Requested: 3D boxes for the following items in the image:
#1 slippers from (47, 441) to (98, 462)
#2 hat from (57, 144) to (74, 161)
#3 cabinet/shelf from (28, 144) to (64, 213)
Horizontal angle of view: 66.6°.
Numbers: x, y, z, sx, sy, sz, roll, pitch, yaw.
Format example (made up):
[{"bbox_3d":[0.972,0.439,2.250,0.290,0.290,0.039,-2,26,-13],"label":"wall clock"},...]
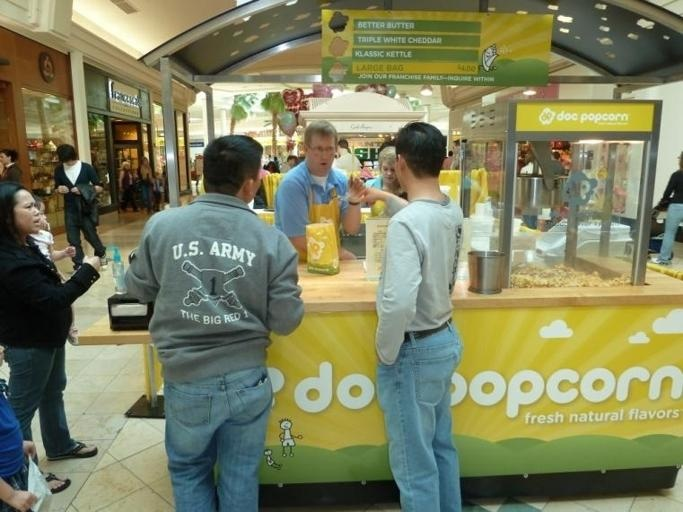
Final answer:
[{"bbox_3d":[-1.707,1.233,3.298,0.257,0.087,0.120,0,4,-16],"label":"slippers"},{"bbox_3d":[-3.749,-1.413,7.139,0.197,0.231,0.258,8,0,-20],"label":"hat"},{"bbox_3d":[-5.483,-1.520,9.796,0.700,1.155,0.431,-4,8,-18],"label":"cabinet/shelf"}]
